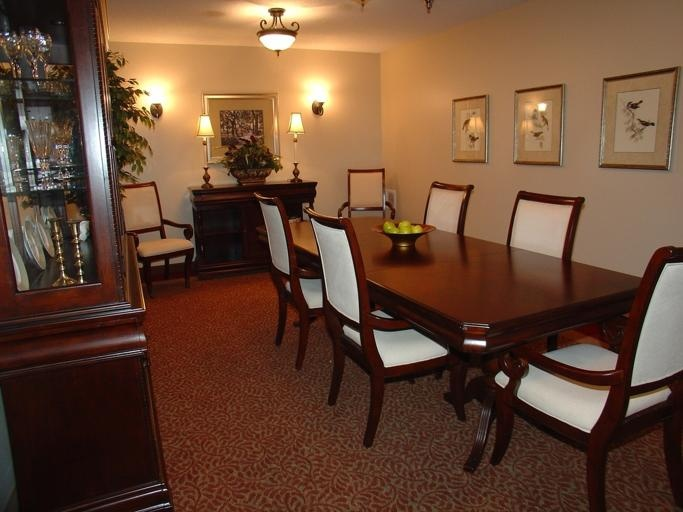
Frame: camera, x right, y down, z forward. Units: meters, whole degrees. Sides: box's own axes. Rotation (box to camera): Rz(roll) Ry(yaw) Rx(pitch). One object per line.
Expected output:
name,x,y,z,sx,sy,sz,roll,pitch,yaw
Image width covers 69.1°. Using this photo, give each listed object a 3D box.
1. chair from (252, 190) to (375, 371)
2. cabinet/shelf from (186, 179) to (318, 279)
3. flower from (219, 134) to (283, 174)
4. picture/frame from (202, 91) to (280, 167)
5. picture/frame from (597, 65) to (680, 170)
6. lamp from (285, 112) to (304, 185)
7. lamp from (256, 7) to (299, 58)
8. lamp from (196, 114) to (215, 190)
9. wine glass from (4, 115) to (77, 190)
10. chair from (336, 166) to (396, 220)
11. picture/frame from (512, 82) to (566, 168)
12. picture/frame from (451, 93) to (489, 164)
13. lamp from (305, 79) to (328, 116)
chair,-0.212,-0.018,4.009,1.000,1.746,0.925,-7,18,-24
cabinet/shelf,-0.999,-0.285,5.164,0.998,0.777,0.336,-7,16,-23
flower,-1.093,-1.171,5.970,0.548,0.433,0.572,-4,12,-16
picture/frame,-1.273,-1.558,6.071,0.868,0.822,0.101,-5,10,-25
picture/frame,2.319,-1.068,3.897,0.111,0.747,0.621,-8,18,-23
lamp,-0.565,-1.366,6.243,0.197,0.845,0.561,-3,17,-5
lamp,-0.564,-2.048,4.624,0.450,0.466,0.470,-2,12,-13
lamp,-1.587,-1.239,5.850,0.181,0.826,0.548,-5,17,-14
wine glass,-1.207,-0.413,2.007,0.240,0.283,0.142,-9,18,-23
chair,0.318,-0.829,6.549,0.681,1.100,0.688,0,9,-1
picture/frame,1.867,-1.242,4.646,0.035,0.960,0.758,-4,8,-25
picture/frame,1.420,-1.408,5.416,0.035,0.929,0.734,-3,6,-24
lamp,-0.301,-2.033,6.438,0.261,0.441,0.148,-5,17,-11
